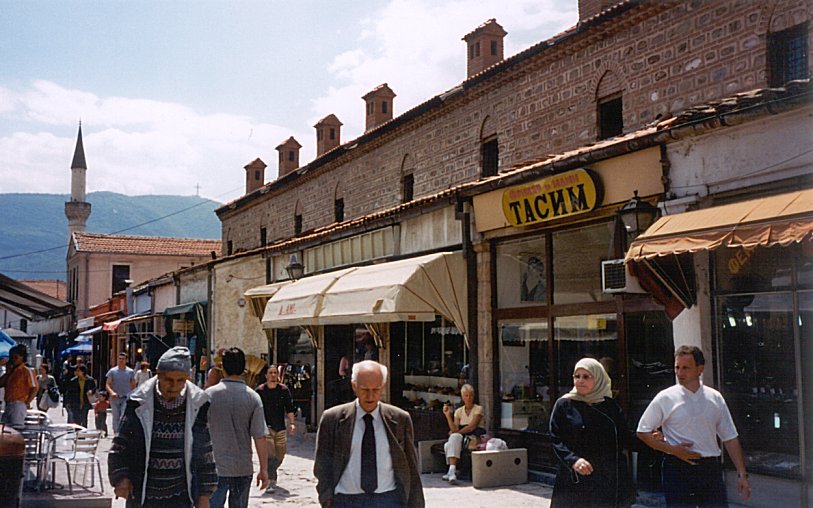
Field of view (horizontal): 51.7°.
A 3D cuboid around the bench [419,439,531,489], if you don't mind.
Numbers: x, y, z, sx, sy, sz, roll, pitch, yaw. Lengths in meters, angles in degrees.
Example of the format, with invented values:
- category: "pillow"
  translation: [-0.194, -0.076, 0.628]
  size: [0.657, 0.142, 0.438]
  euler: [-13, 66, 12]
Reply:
- category: "bench"
  translation: [1.124, 3.878, 15.610]
  size: [2.006, 0.889, 1.115]
  euler: [-11, -16, 34]

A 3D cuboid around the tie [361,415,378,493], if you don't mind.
- category: "tie"
  translation: [-0.448, 2.316, 9.778]
  size: [0.203, 0.904, 0.079]
  euler: [-1, -13, -4]

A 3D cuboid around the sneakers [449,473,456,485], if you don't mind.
- category: "sneakers"
  translation: [0.862, 4.106, 15.343]
  size: [0.142, 0.180, 0.366]
  euler: [-6, -14, 18]

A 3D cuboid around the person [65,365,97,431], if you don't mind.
- category: "person"
  translation: [-8.030, 3.442, 20.515]
  size: [0.714, 1.494, 1.087]
  euler: [3, -14, -22]

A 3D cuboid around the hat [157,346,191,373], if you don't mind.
- category: "hat"
  translation: [-2.801, 1.253, 9.989]
  size: [0.387, 0.190, 0.281]
  euler: [-7, -7, 39]

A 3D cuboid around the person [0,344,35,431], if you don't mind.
- category: "person"
  translation: [-7.123, 2.387, 15.462]
  size: [0.593, 1.529, 0.620]
  euler: [10, -17, -42]
